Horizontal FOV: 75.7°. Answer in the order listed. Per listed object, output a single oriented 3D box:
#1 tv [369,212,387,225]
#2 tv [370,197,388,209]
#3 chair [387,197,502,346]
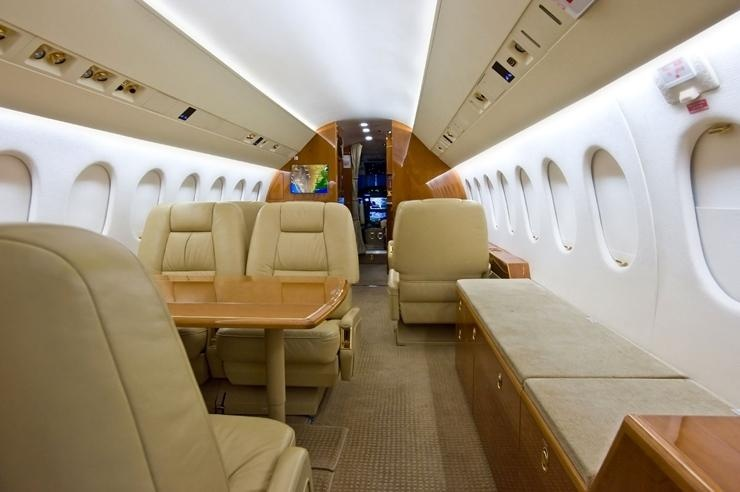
[{"bbox_3d":[0.237,-0.795,13.835,0.521,0.503,0.279,0,-7,5],"label":"tv"},{"bbox_3d":[0.225,-1.237,13.883,0.658,0.481,0.095,2,-18,2],"label":"tv"},{"bbox_3d":[0.642,0.183,5.205,1.157,1.746,1.349,0,4,3],"label":"chair"}]
